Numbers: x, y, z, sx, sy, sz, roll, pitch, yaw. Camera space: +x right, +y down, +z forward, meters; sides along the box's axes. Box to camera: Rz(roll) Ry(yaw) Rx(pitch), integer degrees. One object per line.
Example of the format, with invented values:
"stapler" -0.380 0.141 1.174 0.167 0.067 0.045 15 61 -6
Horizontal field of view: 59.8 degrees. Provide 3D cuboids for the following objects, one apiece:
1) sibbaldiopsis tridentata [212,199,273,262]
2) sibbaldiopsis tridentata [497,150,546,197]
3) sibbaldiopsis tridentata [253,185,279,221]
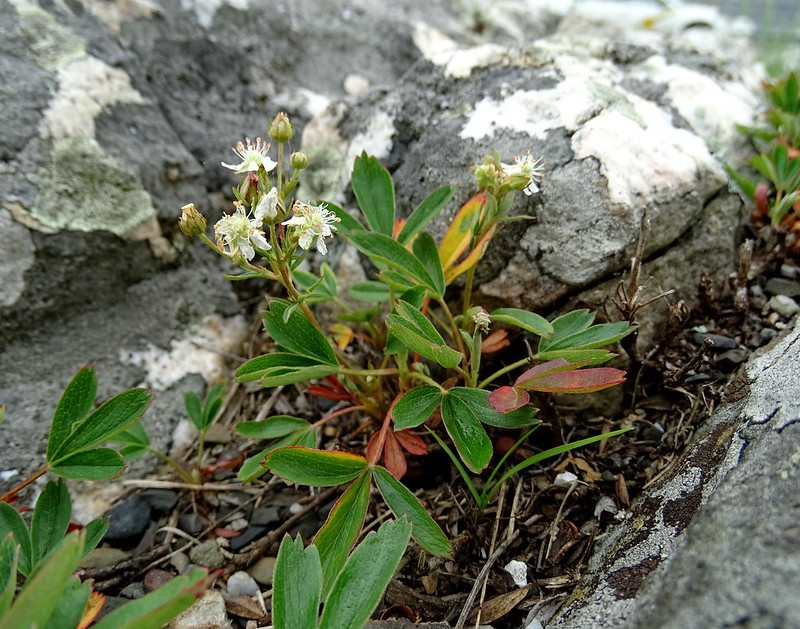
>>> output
"sibbaldiopsis tridentata" -0.566 -0.284 2.498 0.156 0.120 0.174 -24 69 -13
"sibbaldiopsis tridentata" 0.474 -0.543 2.686 0.202 0.122 0.229 2 41 -4
"sibbaldiopsis tridentata" -0.469 -0.387 2.477 0.076 0.042 0.120 17 84 17
